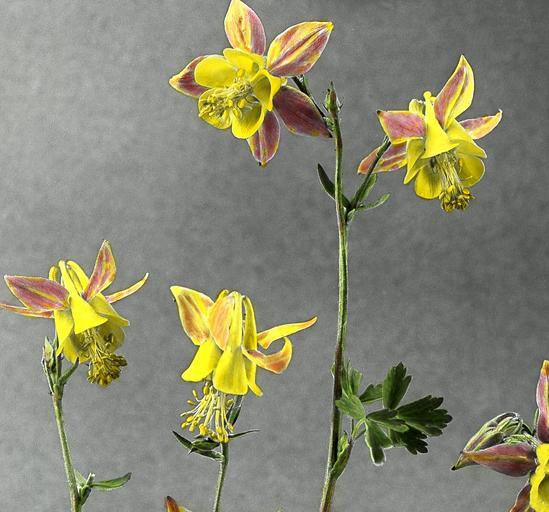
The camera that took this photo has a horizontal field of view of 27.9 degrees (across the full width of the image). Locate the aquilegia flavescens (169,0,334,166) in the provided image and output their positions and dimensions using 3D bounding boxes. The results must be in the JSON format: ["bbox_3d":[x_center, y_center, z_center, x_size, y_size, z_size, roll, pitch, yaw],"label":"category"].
[{"bbox_3d":[-0.042,-0.350,2.268,0.363,0.305,0.204,24,62,5],"label":"aquilegia flavescens"}]

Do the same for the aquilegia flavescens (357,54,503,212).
[{"bbox_3d":[0.327,-0.214,2.254,0.227,0.225,0.230,-23,68,-17],"label":"aquilegia flavescens"}]
